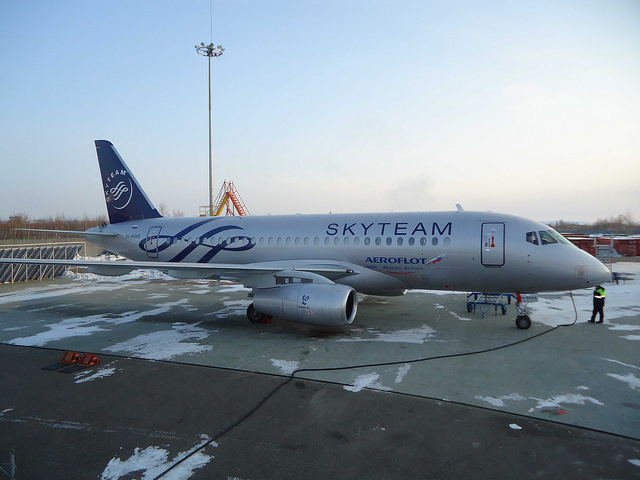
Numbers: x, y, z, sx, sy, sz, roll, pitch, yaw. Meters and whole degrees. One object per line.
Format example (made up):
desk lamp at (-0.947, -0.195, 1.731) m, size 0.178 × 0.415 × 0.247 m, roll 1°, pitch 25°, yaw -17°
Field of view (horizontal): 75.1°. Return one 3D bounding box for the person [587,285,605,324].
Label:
person at (10.300, 2.400, 15.579) m, size 0.481 × 1.672 × 0.969 m, roll 9°, pitch 16°, yaw 37°
